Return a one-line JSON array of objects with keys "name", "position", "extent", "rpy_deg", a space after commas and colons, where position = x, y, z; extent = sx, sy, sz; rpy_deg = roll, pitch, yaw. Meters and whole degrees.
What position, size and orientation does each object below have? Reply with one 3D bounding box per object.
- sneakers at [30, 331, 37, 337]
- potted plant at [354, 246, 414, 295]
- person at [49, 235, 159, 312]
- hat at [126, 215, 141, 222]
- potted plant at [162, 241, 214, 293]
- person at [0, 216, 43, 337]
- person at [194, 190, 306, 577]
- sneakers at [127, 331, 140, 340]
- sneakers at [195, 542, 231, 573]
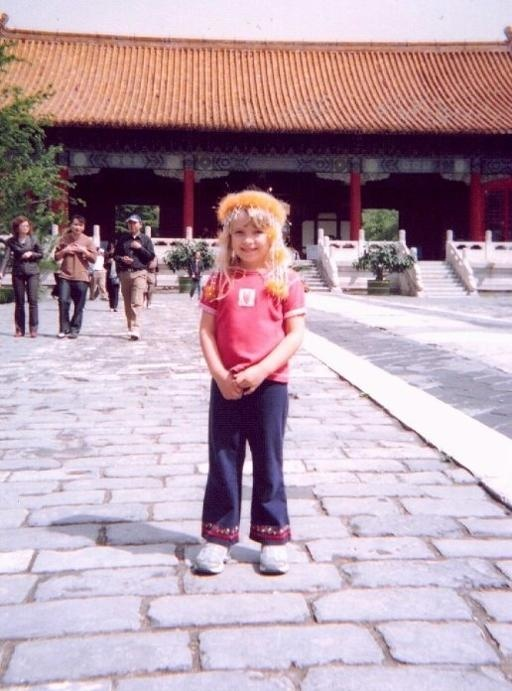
[{"name": "sneakers", "position": [-2.886, -0.139, 8.973], "extent": [0.049, 0.052, 0.133], "rpy_deg": [-1, -2, -7]}, {"name": "potted plant", "position": [3.835, -2.419, 20.935], "extent": [1.838, 1.673, 1.488], "rpy_deg": [0, 1, -8]}, {"name": "person", "position": [-1.912, -1.035, 8.785], "extent": [1.202, 0.794, 0.543], "rpy_deg": [-2, 7, -13]}, {"name": "hat", "position": [-1.514, -1.554, 8.531], "extent": [0.151, 0.115, 0.290], "rpy_deg": [-2, 7, -13]}, {"name": "potted plant", "position": [-2.092, -2.566, 20.973], "extent": [1.980, 1.893, 1.751], "rpy_deg": [0, 1, -6]}, {"name": "person", "position": [-3.034, -0.888, 9.010], "extent": [0.517, 1.562, 1.152], "rpy_deg": [-3, 7, -17]}, {"name": "person", "position": [-0.022, 0.099, 2.271], "extent": [0.357, 1.219, 0.494], "rpy_deg": [0, 7, 4]}, {"name": "sneakers", "position": [-1.565, -0.121, 8.827], "extent": [0.119, 0.112, 0.115], "rpy_deg": [-2, 11, -15]}, {"name": "sneakers", "position": [-0.146, 0.668, 2.165], "extent": [0.110, 0.071, 0.134], "rpy_deg": [-1, 7, -3]}]
